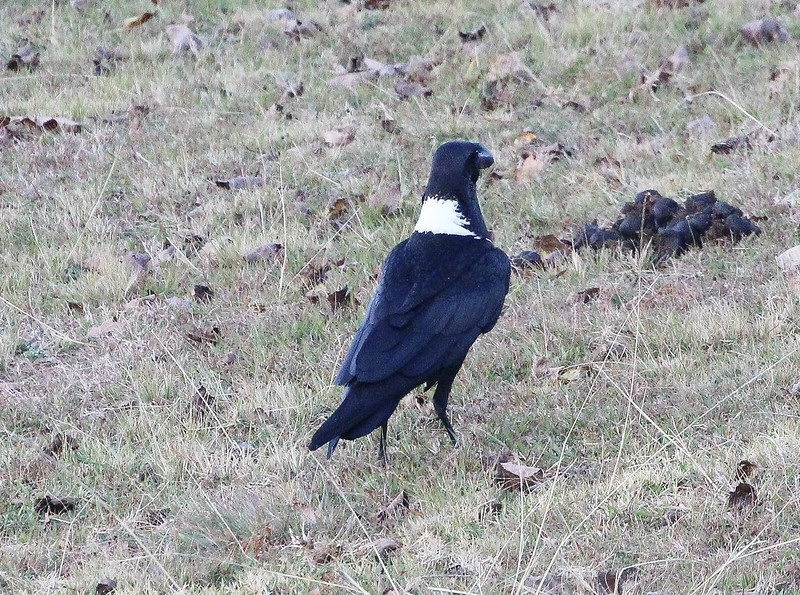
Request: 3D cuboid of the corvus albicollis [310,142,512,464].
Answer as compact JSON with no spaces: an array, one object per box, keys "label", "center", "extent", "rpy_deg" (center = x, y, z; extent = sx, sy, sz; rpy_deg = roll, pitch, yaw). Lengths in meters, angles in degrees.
[{"label":"corvus albicollis","center":[0.178,0.062,7.733],"extent":[0.893,1.813,1.608],"rpy_deg":[13,19,5]}]
